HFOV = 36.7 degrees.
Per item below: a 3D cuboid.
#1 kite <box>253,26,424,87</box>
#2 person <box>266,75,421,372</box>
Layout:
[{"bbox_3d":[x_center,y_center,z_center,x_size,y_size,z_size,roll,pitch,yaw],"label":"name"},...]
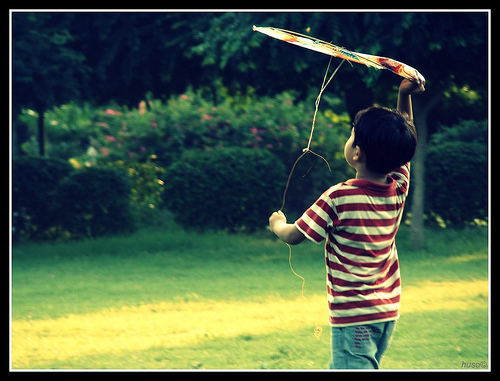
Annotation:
[{"bbox_3d":[0.972,-1.558,8.560,1.629,0.230,0.409,29,-11,9],"label":"kite"},{"bbox_3d":[0.842,0.399,6.113,0.993,2.124,0.262,0,2,-2],"label":"person"}]
